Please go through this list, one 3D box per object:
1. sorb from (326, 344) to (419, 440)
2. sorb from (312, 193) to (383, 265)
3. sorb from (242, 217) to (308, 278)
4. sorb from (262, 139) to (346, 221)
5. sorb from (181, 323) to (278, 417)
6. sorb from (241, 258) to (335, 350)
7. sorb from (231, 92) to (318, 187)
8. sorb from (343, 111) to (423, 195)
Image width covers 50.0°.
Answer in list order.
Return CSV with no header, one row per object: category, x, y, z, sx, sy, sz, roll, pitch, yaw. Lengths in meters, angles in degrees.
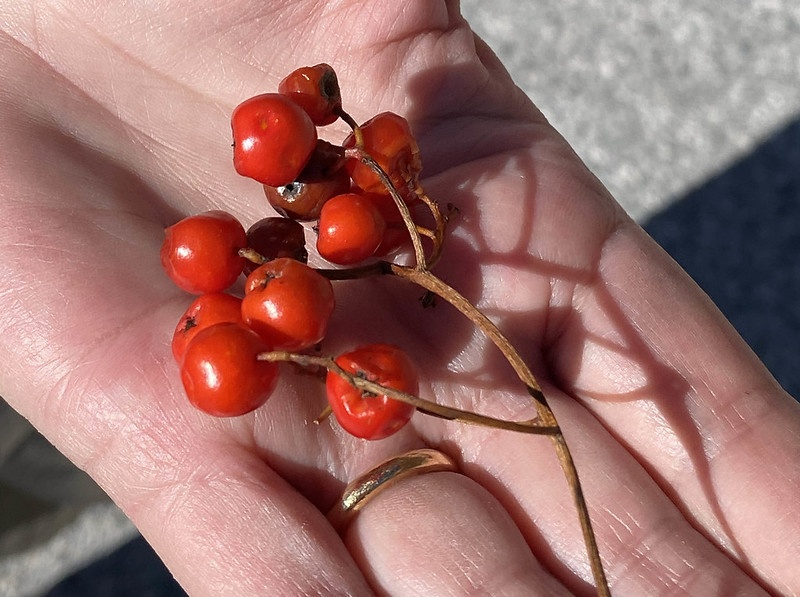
sorb,-0.037,0.127,1.190,0.117,0.117,0.118,-44,95,1
sorb,-0.068,-0.094,1.222,0.093,0.089,0.092,-19,118,-13
sorb,-0.174,-0.061,1.220,0.074,0.077,0.080,-21,94,-8
sorb,-0.124,-0.156,1.214,0.118,0.094,0.094,-2,73,-32
sorb,-0.208,0.106,1.136,0.105,0.100,0.121,-8,99,29
sorb,-0.154,0.017,1.203,0.120,0.184,0.118,24,83,2
sorb,-0.168,-0.217,1.217,0.111,0.118,0.116,21,38,15
sorb,-0.024,-0.203,1.225,0.105,0.051,0.120,-11,84,-3
